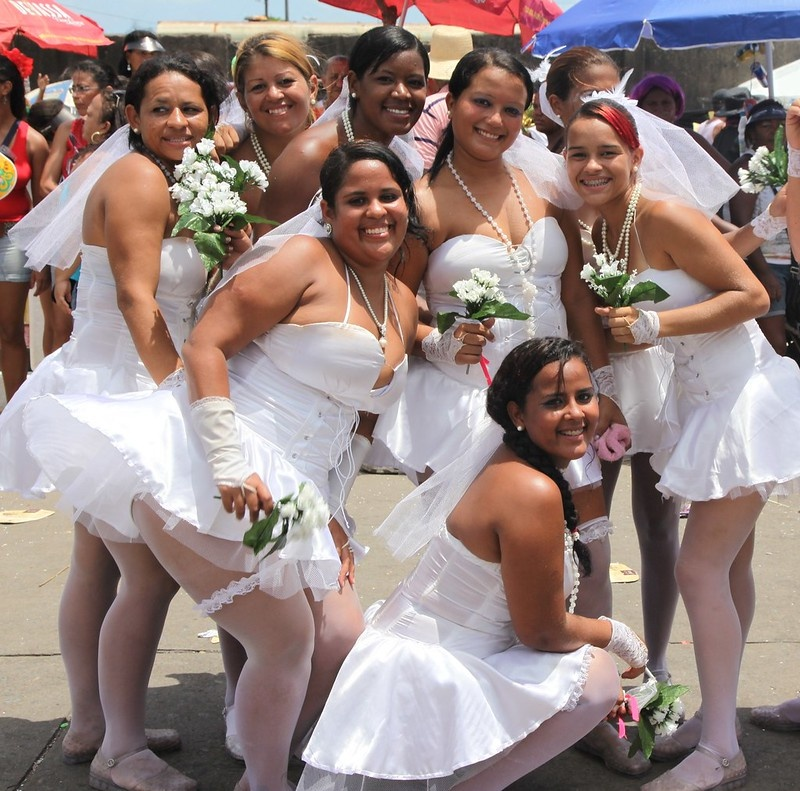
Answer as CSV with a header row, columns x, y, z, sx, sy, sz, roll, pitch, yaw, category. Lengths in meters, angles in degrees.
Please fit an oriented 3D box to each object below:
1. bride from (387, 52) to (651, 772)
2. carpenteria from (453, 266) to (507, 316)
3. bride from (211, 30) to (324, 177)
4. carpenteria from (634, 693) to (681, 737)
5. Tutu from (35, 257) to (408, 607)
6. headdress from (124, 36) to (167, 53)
x,y,z,sx,sy,sz,roll,pitch,yaw,category
0.395,0.081,3.685,1.222,2.686,1.192,2,16,28,bride
0.272,-0.370,3.274,0.208,0.163,0.191,8,13,24,carpenteria
-0.539,-1.174,3.734,0.408,0.586,0.347,-6,28,-20,bride
0.800,0.987,2.946,0.105,0.118,0.127,9,-24,9,carpenteria
-0.489,0.204,3.179,1.019,1.263,1.386,10,-22,0,Tutu
-1.801,-2.466,6.679,0.238,0.067,0.205,-2,5,23,headdress
